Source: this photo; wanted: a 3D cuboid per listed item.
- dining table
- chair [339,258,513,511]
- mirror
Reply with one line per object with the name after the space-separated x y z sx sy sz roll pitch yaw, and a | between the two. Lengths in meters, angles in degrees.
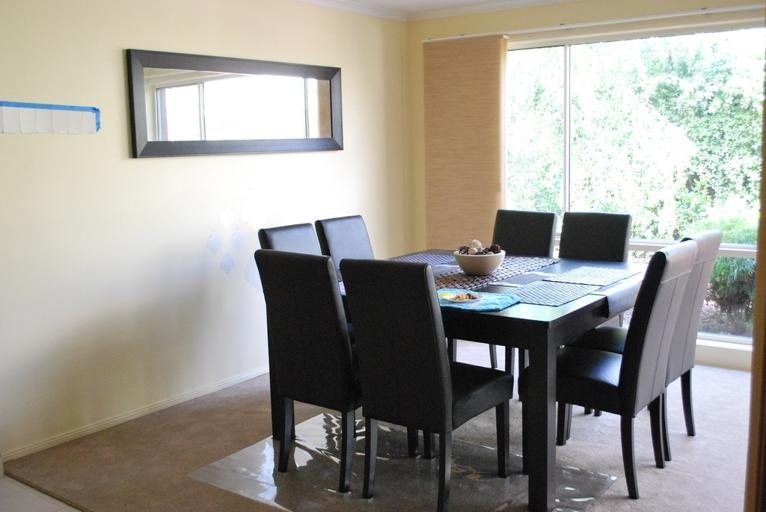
0.738 0.422 3.451 1.317 1.064 1.756 2 7 37 | dining table
0.277 0.649 2.928 0.813 1.319 0.491 -7 13 -23 | chair
-1.064 -1.198 4.451 1.872 0.738 0.039 -12 24 -41 | mirror
